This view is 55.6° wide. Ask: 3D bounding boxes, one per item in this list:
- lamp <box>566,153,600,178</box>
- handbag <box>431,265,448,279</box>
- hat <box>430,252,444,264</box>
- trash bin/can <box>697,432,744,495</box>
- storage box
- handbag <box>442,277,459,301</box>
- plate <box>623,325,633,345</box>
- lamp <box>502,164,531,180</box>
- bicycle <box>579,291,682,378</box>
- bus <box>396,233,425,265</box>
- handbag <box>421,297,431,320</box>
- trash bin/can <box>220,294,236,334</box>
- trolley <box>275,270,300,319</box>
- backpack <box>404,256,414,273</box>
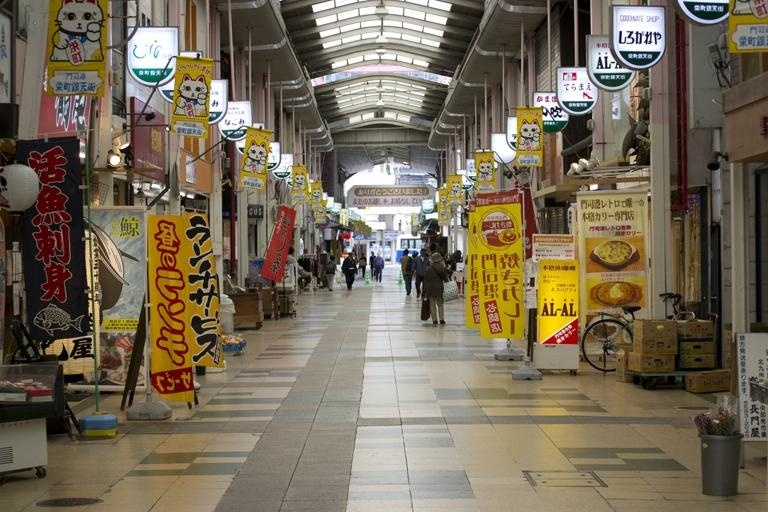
[{"bbox_3d":[3.772,-1.706,13.842,0.506,0.357,0.673,0,3,16],"label":"lamp"},{"bbox_3d":[1.369,0.374,17.832,0.501,0.449,0.284,-3,3,-42],"label":"handbag"},{"bbox_3d":[1.279,0.036,17.610,0.279,0.259,0.783,-1,3,3],"label":"hat"},{"bbox_3d":[3.140,1.909,6.803,0.434,0.546,0.392,3,-4,-11],"label":"trash bin/can"},{"bbox_3d":[4.265,1.459,10.652,1.177,0.634,0.923,1,2,2],"label":"storage box"},{"bbox_3d":[2.325,1.202,25.863,0.254,0.755,1.678,0,3,14],"label":"handbag"},{"bbox_3d":[4.040,1.291,12.110,0.065,0.272,0.277,5,-3,-24],"label":"plate"},{"bbox_3d":[4.689,-2.941,25.430,0.924,0.393,0.674,2,2,40],"label":"lamp"},{"bbox_3d":[4.249,1.269,12.175,1.900,1.280,1.013,-6,3,1],"label":"bicycle"},{"bbox_3d":[2.493,-0.694,73.079,3.330,3.124,2.142,-1,4,2],"label":"bus"},{"bbox_3d":[1.054,1.331,18.508,0.212,0.627,0.492,-1,2,5],"label":"handbag"},{"bbox_3d":[-3.363,1.230,15.579,0.261,0.821,0.639,-1,2,-11],"label":"trash bin/can"},{"bbox_3d":[-2.827,1.022,21.228,0.757,1.334,1.293,-4,1,-5],"label":"trolley"},{"bbox_3d":[0.960,0.265,27.921,0.415,0.846,0.550,1,-18,4],"label":"backpack"}]
